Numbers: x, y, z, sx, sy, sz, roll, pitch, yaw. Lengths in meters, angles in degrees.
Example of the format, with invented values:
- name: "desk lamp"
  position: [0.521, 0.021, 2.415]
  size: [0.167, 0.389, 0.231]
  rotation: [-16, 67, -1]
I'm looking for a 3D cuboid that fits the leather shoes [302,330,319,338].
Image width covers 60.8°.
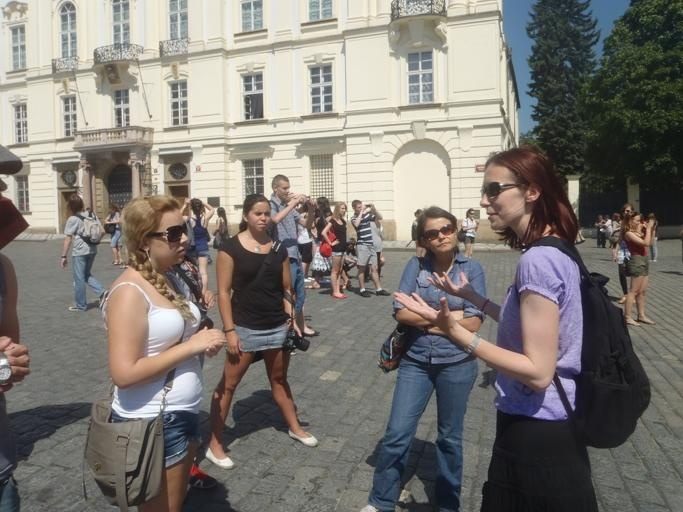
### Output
- name: "leather shoes"
  position: [-0.433, 1.123, 8.373]
  size: [0.206, 0.062, 0.095]
  rotation: [-4, 6, 4]

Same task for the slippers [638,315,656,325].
- name: "slippers"
  position: [4.857, 1.009, 9.226]
  size: [0.262, 0.200, 0.098]
  rotation: [0, 13, 25]

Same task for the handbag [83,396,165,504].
- name: "handbag"
  position: [-1.253, 1.141, 3.360]
  size: [0.479, 0.534, 0.263]
  rotation: [2, 8, 19]

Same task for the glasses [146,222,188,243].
- name: "glasses"
  position: [-1.069, -0.142, 3.648]
  size: [0.103, 0.114, 0.284]
  rotation: [5, 10, 36]

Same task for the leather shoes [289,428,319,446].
- name: "leather shoes"
  position: [-0.326, 1.599, 5.202]
  size: [0.232, 0.083, 0.107]
  rotation: [1, 6, 38]

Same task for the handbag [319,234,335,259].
- name: "handbag"
  position: [-0.280, -0.197, 11.983]
  size: [0.242, 0.518, 0.359]
  rotation: [2, 15, -34]

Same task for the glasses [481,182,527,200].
- name: "glasses"
  position: [0.878, -0.372, 3.258]
  size: [0.123, 0.051, 0.130]
  rotation: [-3, -2, -6]

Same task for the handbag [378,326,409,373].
- name: "handbag"
  position: [0.415, 0.692, 4.439]
  size: [0.177, 0.359, 0.279]
  rotation: [15, 22, 13]

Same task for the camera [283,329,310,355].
- name: "camera"
  position: [-0.375, 0.752, 5.190]
  size: [0.245, 0.155, 0.107]
  rotation: [14, 8, -27]

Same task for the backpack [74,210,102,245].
- name: "backpack"
  position: [-4.490, -0.468, 10.394]
  size: [0.334, 0.502, 0.481]
  rotation: [-11, 7, -41]

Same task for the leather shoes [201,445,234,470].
- name: "leather shoes"
  position: [-1.028, 1.664, 4.842]
  size: [0.277, 0.125, 0.109]
  rotation: [5, 5, 34]

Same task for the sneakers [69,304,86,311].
- name: "sneakers"
  position: [-4.768, 0.931, 10.462]
  size: [0.309, 0.152, 0.131]
  rotation: [6, 9, 4]
